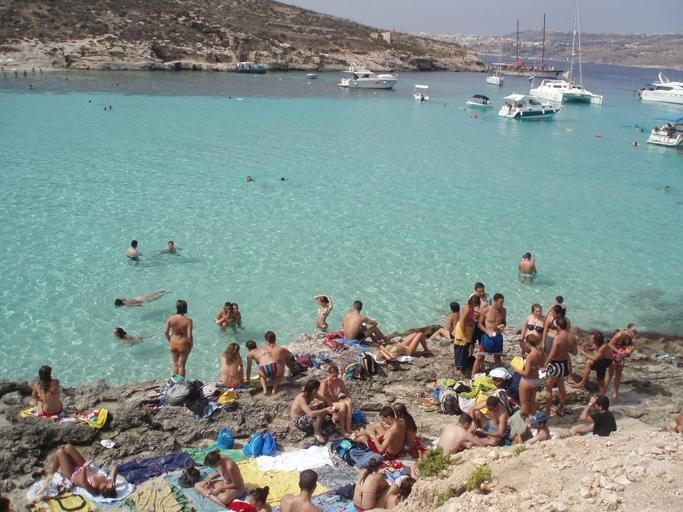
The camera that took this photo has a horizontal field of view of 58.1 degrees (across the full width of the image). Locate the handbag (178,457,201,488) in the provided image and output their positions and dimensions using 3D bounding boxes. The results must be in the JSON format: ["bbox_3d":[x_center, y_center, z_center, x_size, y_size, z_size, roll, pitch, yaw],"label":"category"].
[{"bbox_3d":[-3.188,4.611,13.062,0.621,0.644,0.389,0,25,0],"label":"handbag"}]

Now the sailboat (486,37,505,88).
[{"bbox_3d":[34.954,-44.825,135.893,2.137,7.795,114.640,5,20,13],"label":"sailboat"}]

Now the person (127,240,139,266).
[{"bbox_3d":[-7.333,-0.261,21.578,0.456,0.791,1.095,-7,21,-17],"label":"person"}]

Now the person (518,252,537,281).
[{"bbox_3d":[6.672,0.285,21.827,0.662,0.871,1.144,6,21,16],"label":"person"}]

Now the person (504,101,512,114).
[{"bbox_3d":[14.802,-12.996,54.023,0.412,0.990,0.731,6,1,7],"label":"person"}]

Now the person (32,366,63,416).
[{"bbox_3d":[-6.772,3.001,14.082,0.589,1.276,0.825,-12,24,-28],"label":"person"}]

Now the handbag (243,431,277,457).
[{"bbox_3d":[-1.829,4.306,14.059,0.827,0.568,0.442,5,-8,-7],"label":"handbag"}]

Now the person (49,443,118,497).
[{"bbox_3d":[-5.402,4.543,12.863,1.683,0.649,0.772,9,11,4],"label":"person"}]

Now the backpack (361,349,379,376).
[{"bbox_3d":[0.778,2.852,16.126,0.424,0.531,0.245,-22,-8,-44],"label":"backpack"}]

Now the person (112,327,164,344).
[{"bbox_3d":[-5.952,2.256,17.816,1.236,0.397,0.594,-5,20,-15],"label":"person"}]

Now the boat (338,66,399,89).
[{"bbox_3d":[3.135,-21.540,74.408,5.986,2.475,7.973,0,19,-1],"label":"boat"}]

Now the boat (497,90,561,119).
[{"bbox_3d":[18.020,-14.303,58.221,7.186,2.503,3.069,-10,31,-25],"label":"boat"}]

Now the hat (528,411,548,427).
[{"bbox_3d":[4.562,3.759,14.120,0.439,0.200,0.264,-11,27,26],"label":"hat"}]

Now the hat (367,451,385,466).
[{"bbox_3d":[0.707,4.253,12.973,0.357,0.346,0.251,-22,59,9],"label":"hat"}]

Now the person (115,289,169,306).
[{"bbox_3d":[-6.295,1.382,19.391,0.969,0.210,0.521,-11,15,-33],"label":"person"}]

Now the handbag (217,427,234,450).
[{"bbox_3d":[-2.608,4.183,14.049,0.440,0.397,0.374,12,15,8],"label":"handbag"}]
